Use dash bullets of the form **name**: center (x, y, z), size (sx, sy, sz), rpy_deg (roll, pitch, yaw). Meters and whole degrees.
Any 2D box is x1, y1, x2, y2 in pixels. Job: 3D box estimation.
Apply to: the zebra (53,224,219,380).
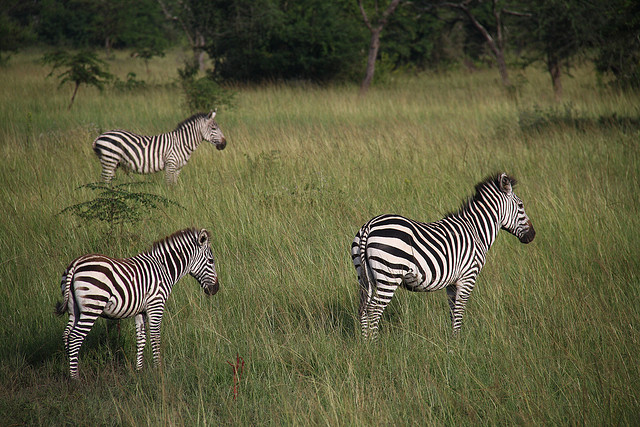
- **zebra**: center (-4.090, 1.971, 20.191), size (3.593, 3.765, 1.202), rpy_deg (1, 5, -24)
